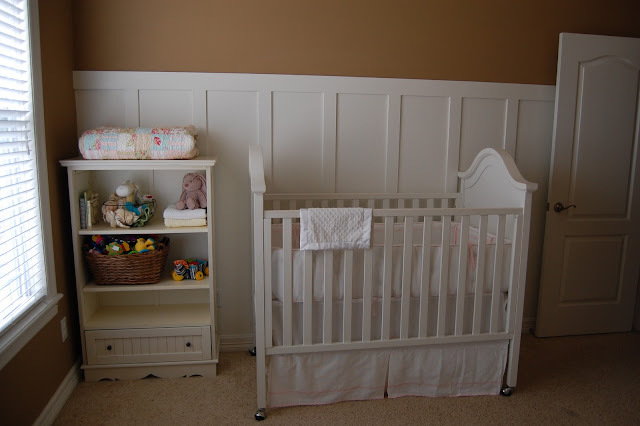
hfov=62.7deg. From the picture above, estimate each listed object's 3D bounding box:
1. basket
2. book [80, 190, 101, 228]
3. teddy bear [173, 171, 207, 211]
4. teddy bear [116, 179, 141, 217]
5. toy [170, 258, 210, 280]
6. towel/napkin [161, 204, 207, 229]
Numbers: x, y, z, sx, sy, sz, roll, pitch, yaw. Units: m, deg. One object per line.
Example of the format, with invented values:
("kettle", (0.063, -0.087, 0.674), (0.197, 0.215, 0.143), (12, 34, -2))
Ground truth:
("basket", (-1.314, 0.369, 3.596), (0.367, 0.171, 0.293), (0, -1, -12))
("book", (-1.577, -0.024, 3.611), (0.082, 0.225, 0.226), (2, 6, -3))
("teddy bear", (-0.871, -0.163, 3.749), (0.269, 0.330, 0.231), (2, 1, 25))
("teddy bear", (-1.309, -0.116, 3.611), (0.185, 0.259, 0.179), (0, -5, -7))
("toy", (-0.913, 0.404, 3.747), (0.195, 0.098, 0.165), (-3, 5, -22))
("towel/napkin", (-0.916, 0.025, 3.657), (0.285, 0.119, 0.130), (0, 15, -1))
